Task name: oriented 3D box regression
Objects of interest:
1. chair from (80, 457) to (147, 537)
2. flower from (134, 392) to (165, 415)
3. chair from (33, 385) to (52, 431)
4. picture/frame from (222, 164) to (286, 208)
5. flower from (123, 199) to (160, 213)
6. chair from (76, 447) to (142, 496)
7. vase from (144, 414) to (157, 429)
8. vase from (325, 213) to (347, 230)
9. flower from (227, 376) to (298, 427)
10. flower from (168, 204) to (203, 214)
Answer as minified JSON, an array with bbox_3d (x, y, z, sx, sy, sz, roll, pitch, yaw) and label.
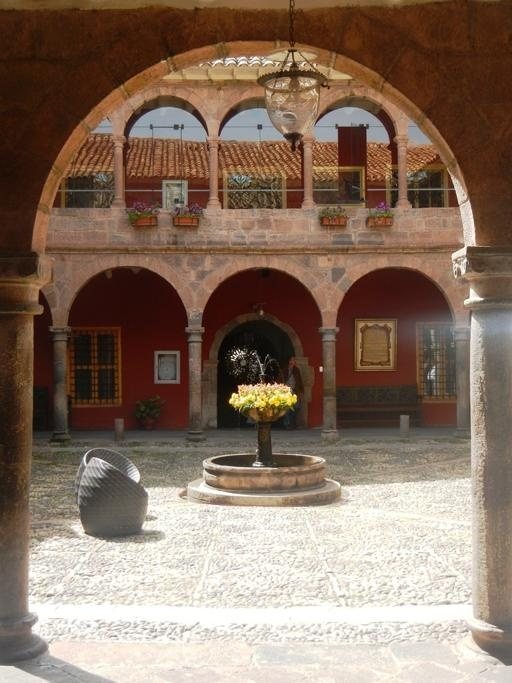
[{"bbox_3d":[-1.081,1.281,6.878,0.672,0.601,0.492,2,-4,-11],"label":"chair"},{"bbox_3d":[-2.051,1.260,16.228,0.534,0.425,0.350,0,-5,-7],"label":"flower"},{"bbox_3d":[-4.104,1.282,16.232,0.322,0.861,0.218,0,-5,-10],"label":"chair"},{"bbox_3d":[-0.040,-3.122,17.101,1.346,0.863,0.063,0,-18,-4],"label":"picture/frame"},{"bbox_3d":[-1.906,-2.264,14.288,0.522,0.315,0.384,0,-5,-11],"label":"flower"},{"bbox_3d":[-1.301,1.103,7.380,0.498,0.423,0.404,6,4,-21],"label":"chair"},{"bbox_3d":[-2.003,1.570,16.204,0.172,0.258,0.370,-4,-6,35],"label":"vase"},{"bbox_3d":[1.329,-2.024,14.211,0.429,0.214,0.248,-1,-5,4],"label":"vase"},{"bbox_3d":[0.008,0.618,8.815,0.546,0.312,0.518,2,1,-35],"label":"flower"},{"bbox_3d":[-1.170,-2.216,14.205,0.355,0.146,0.258,0,5,-3],"label":"flower"}]
